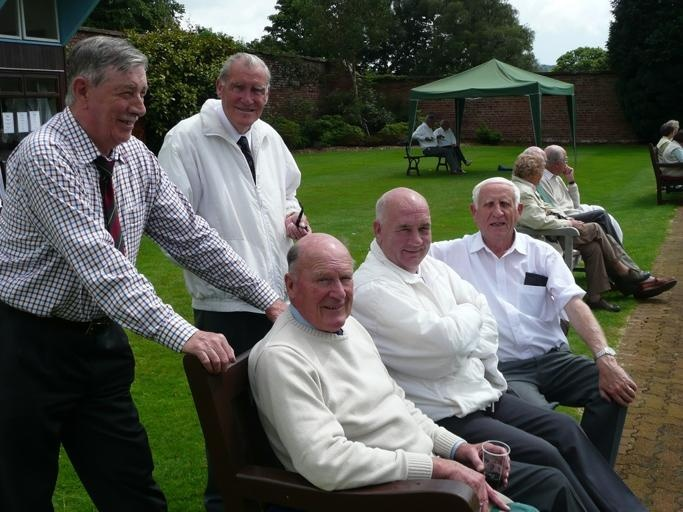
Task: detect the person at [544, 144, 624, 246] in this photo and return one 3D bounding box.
[{"bbox_3d":[3.210,-0.672,7.370,1.144,1.592,0.630,-2,12,39],"label":"person"}]

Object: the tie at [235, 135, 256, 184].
[{"bbox_3d":[-0.597,-0.600,3.472,0.051,0.251,0.141,-9,1,23],"label":"tie"}]

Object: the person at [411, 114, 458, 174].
[{"bbox_3d":[3.075,-3.588,18.106,1.310,2.172,1.053,-5,2,25],"label":"person"}]

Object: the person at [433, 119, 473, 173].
[{"bbox_3d":[3.506,-3.582,18.063,0.787,1.686,1.287,-14,21,-23],"label":"person"}]

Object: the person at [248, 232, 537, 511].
[{"bbox_3d":[0.266,0.433,2.913,1.299,1.609,1.055,-7,4,20],"label":"person"}]

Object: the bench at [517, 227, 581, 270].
[{"bbox_3d":[2.531,-0.063,6.747,0.519,0.855,0.531,-1,5,13],"label":"bench"}]

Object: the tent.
[{"bbox_3d":[4.729,-5.247,17.385,4.393,3.422,4.630,1,7,12],"label":"tent"}]

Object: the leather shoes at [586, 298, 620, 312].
[{"bbox_3d":[3.105,0.572,6.652,0.372,0.172,0.141,0,12,17],"label":"leather shoes"}]

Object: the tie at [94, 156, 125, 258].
[{"bbox_3d":[-1.038,-0.209,2.514,0.107,0.450,0.049,-4,0,-40],"label":"tie"}]
